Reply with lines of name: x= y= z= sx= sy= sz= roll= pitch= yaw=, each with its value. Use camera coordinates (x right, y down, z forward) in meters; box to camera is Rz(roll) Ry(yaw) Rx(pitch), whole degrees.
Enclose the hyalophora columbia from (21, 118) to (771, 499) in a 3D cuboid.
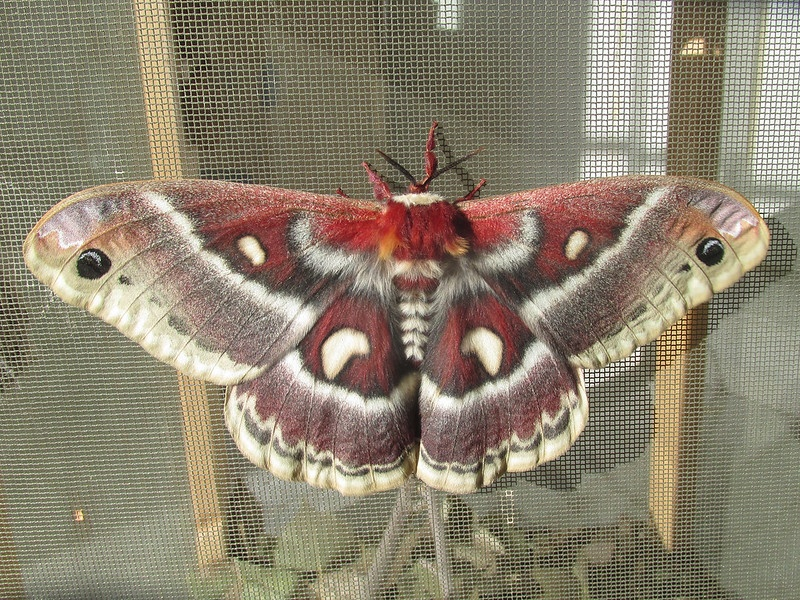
hyalophora columbia: x=-0.001 y=0.084 z=3.348 sx=2.139 sy=0.444 sz=0.979 roll=0 pitch=-70 yaw=1
